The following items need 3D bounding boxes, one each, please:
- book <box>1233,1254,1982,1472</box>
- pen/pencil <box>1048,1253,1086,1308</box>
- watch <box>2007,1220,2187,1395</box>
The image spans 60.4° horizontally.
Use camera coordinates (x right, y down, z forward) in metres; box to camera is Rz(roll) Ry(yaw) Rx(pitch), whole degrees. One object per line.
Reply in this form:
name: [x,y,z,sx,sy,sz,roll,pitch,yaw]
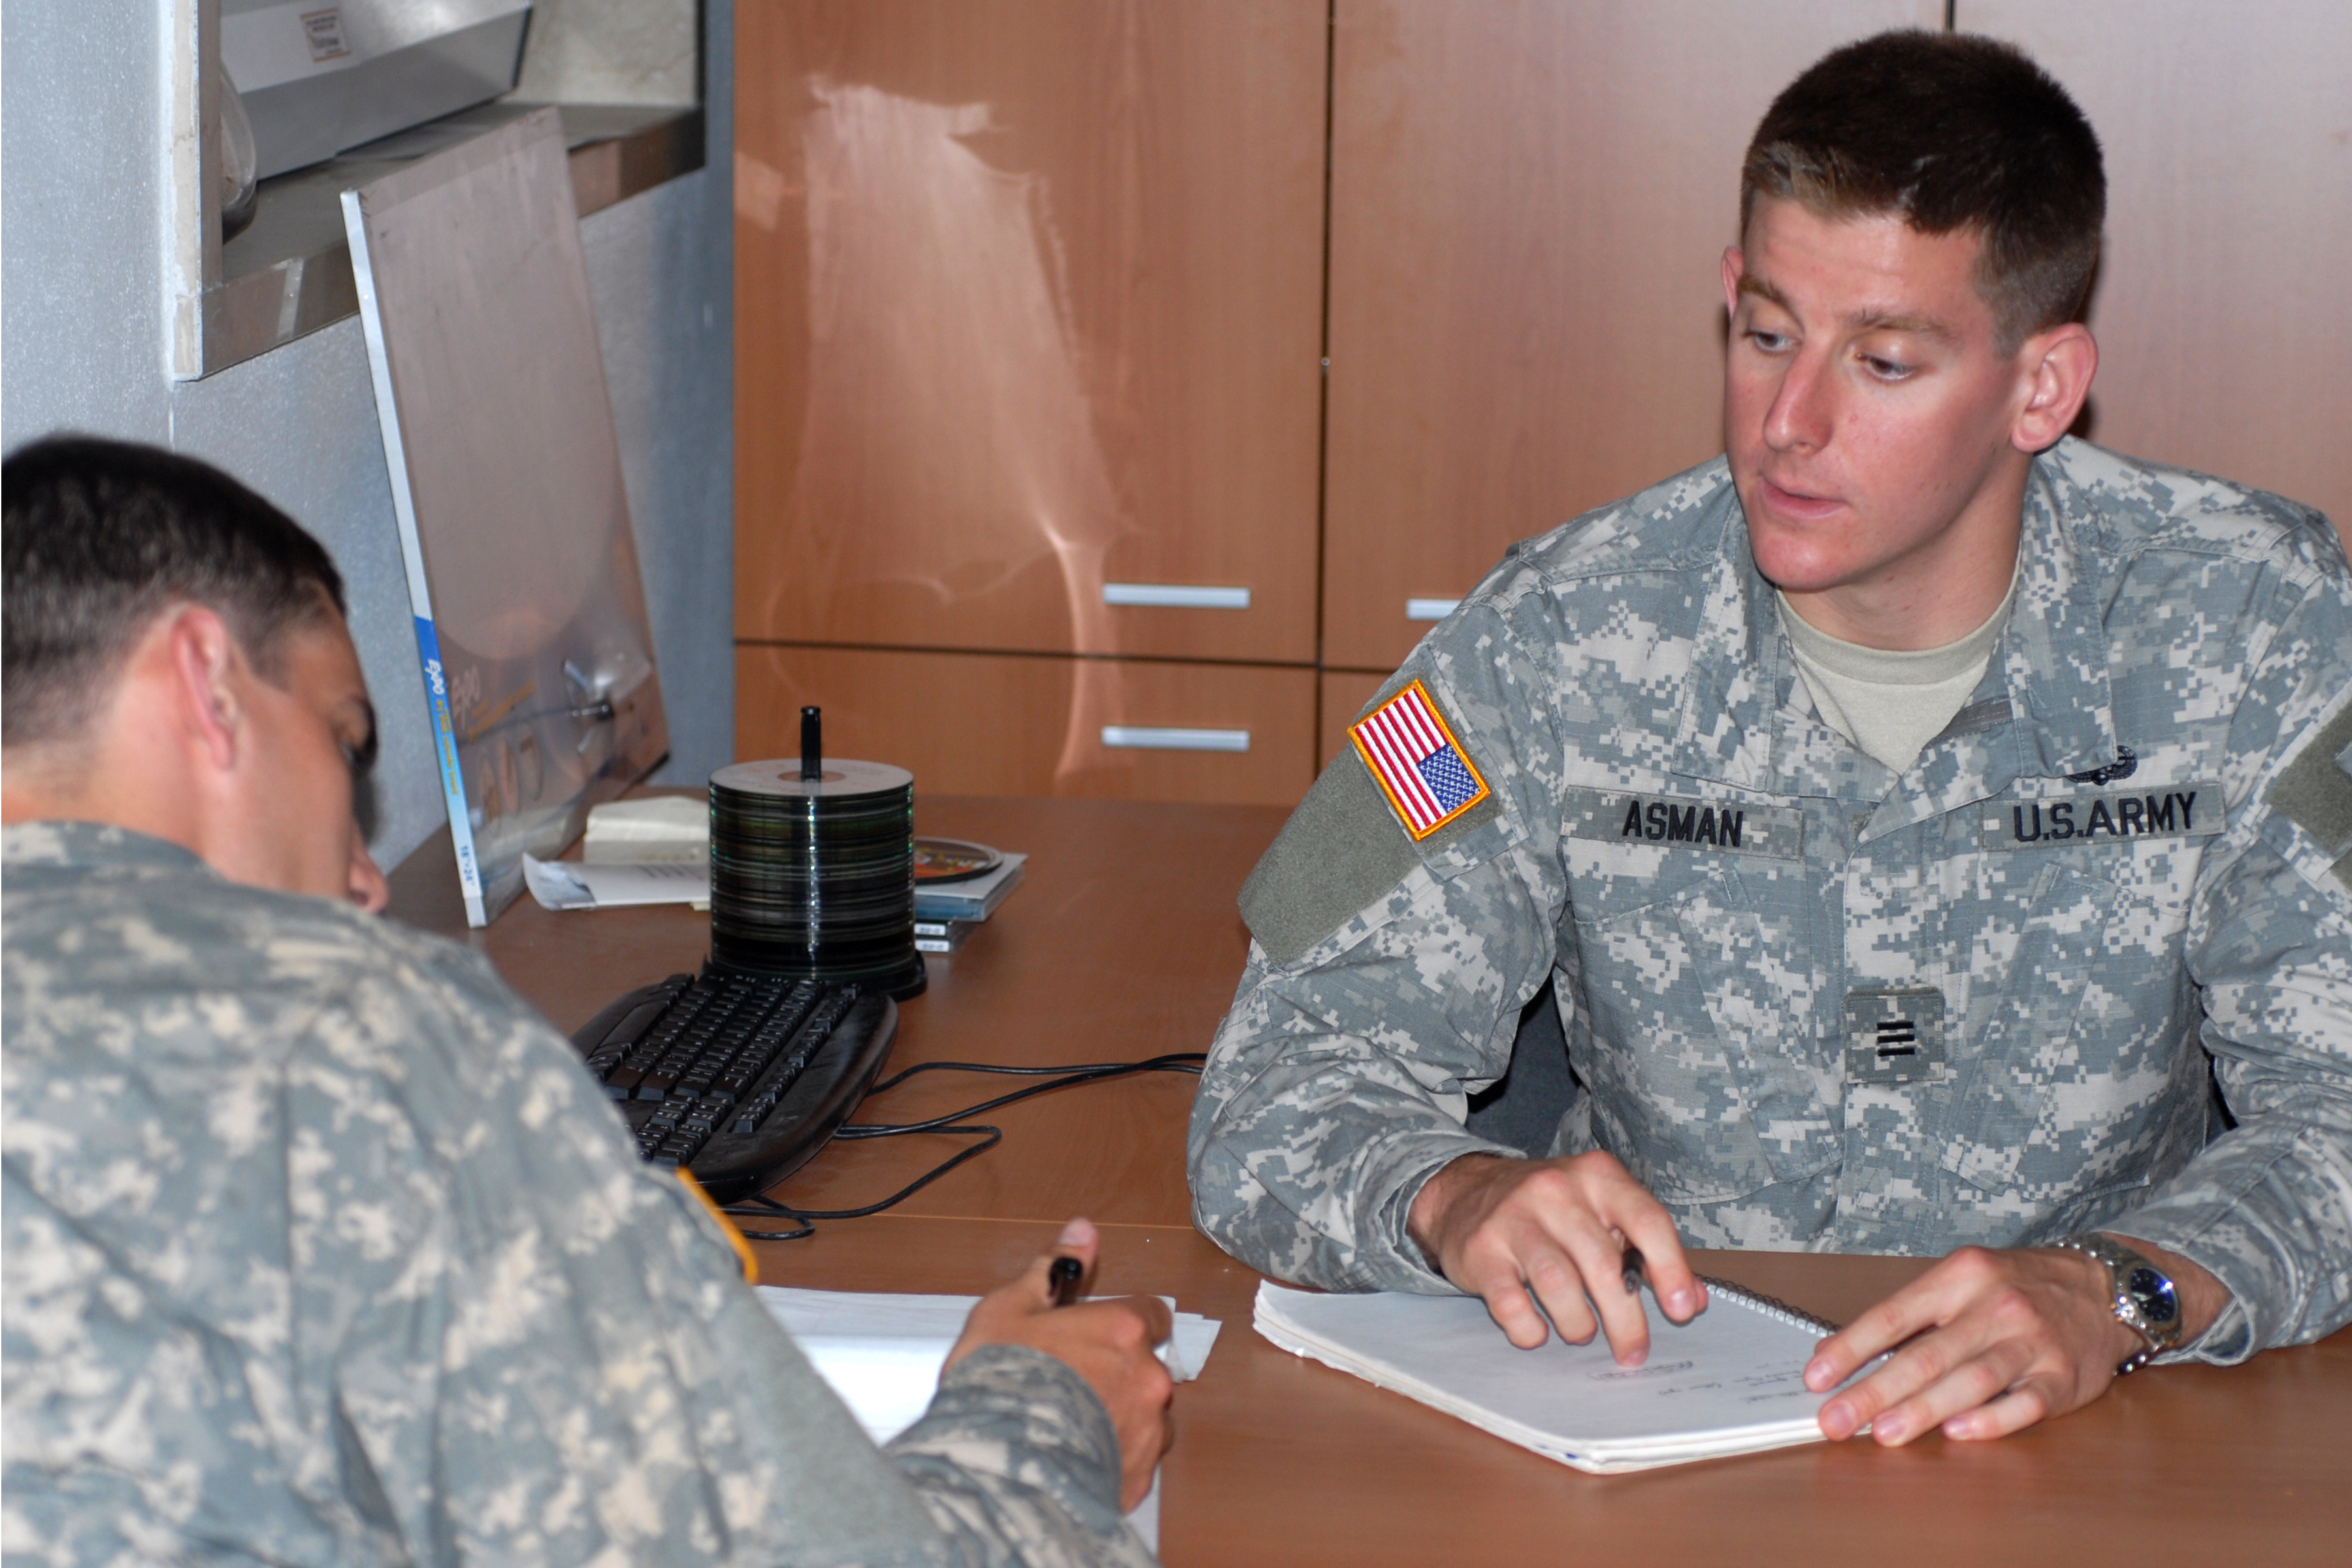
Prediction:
book: [0.243,0.388,1.328,0.385,0.067,0.182,0,2,2]
pen/pencil: [-0.071,0.325,1.318,0.016,0.026,0.012,1,-6,1]
watch: [0.641,0.363,1.406,0.090,0.092,0.061,-32,-7,41]
